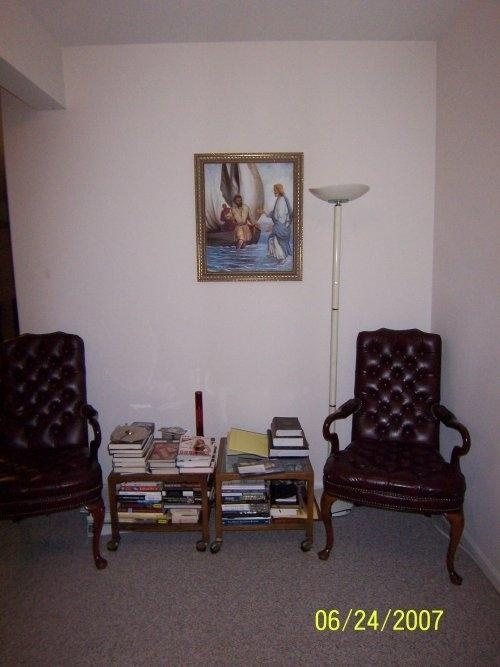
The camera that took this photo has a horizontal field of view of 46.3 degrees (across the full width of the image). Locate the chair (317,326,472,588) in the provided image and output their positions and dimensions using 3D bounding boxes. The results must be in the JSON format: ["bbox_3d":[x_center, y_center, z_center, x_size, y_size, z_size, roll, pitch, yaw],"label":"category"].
[{"bbox_3d":[0.845,0.619,3.318,0.766,1.170,0.849,2,11,20],"label":"chair"}]

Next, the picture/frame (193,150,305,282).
[{"bbox_3d":[0.007,-0.788,3.725,0.841,0.882,0.066,-1,12,-2],"label":"picture/frame"}]
